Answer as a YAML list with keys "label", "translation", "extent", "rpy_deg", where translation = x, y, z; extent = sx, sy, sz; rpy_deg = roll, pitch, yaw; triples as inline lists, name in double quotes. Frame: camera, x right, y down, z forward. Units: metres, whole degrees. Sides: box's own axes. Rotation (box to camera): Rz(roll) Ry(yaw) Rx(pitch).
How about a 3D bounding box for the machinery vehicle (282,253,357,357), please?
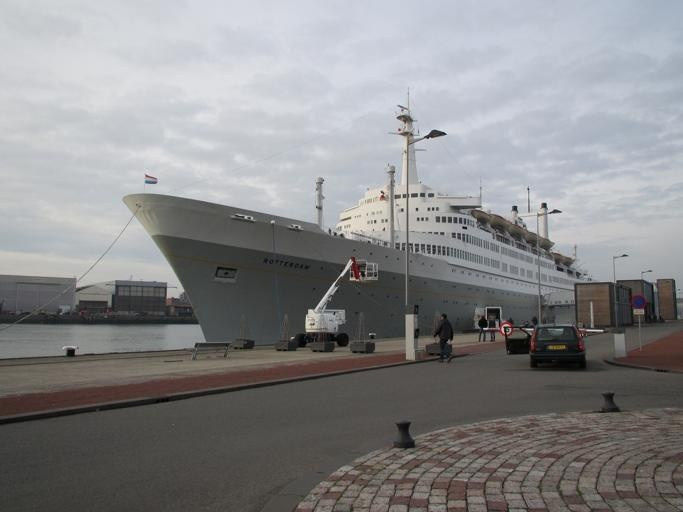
- label: "machinery vehicle"
  translation: [-0.412, 2.024, 23.350]
  extent: [3.058, 3.226, 1.658]
  rpy_deg: [-10, 5, 5]

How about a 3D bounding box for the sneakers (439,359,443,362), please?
- label: "sneakers"
  translation: [2.979, 3.153, 16.583]
  extent: [0.114, 0.040, 0.123]
  rpy_deg: [4, -5, -43]

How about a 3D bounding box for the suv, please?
- label: "suv"
  translation: [6.054, 2.427, 15.675]
  extent: [1.918, 0.941, 2.577]
  rpy_deg: [-1, -2, 18]
